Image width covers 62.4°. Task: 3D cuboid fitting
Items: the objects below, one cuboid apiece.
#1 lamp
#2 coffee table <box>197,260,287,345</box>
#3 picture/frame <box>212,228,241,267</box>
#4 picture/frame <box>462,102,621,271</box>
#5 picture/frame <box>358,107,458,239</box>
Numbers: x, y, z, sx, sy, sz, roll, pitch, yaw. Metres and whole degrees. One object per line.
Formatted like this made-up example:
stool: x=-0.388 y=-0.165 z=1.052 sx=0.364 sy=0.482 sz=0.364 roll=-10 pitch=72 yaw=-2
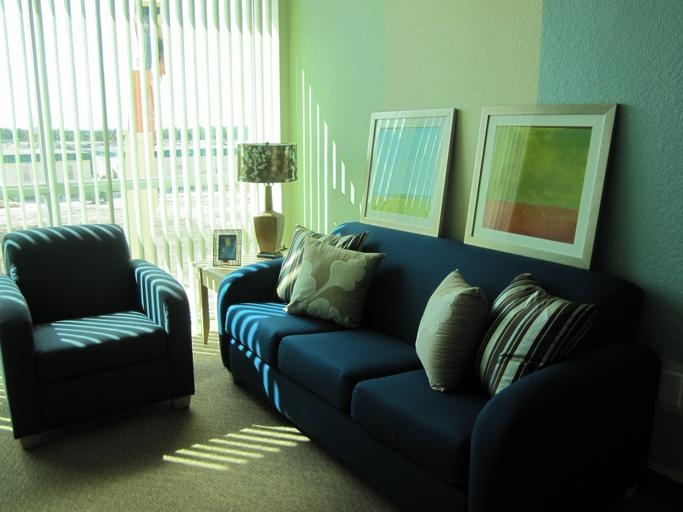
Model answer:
lamp: x=-0.523 y=-0.399 z=4.039 sx=0.418 sy=0.785 sz=0.421 roll=-4 pitch=6 yaw=-16
coffee table: x=-0.692 y=0.276 z=3.873 sx=0.500 sy=0.571 sz=0.613 roll=-5 pitch=0 yaw=-34
picture/frame: x=-0.802 y=-0.050 z=3.946 sx=0.253 sy=0.323 sz=0.024 roll=0 pitch=-5 yaw=-7
picture/frame: x=0.997 y=-0.331 z=2.743 sx=0.057 sy=0.771 sz=0.727 roll=0 pitch=12 yaw=-40
picture/frame: x=0.375 y=-0.508 z=3.455 sx=0.037 sy=0.730 sz=0.702 roll=5 pitch=5 yaw=-39
